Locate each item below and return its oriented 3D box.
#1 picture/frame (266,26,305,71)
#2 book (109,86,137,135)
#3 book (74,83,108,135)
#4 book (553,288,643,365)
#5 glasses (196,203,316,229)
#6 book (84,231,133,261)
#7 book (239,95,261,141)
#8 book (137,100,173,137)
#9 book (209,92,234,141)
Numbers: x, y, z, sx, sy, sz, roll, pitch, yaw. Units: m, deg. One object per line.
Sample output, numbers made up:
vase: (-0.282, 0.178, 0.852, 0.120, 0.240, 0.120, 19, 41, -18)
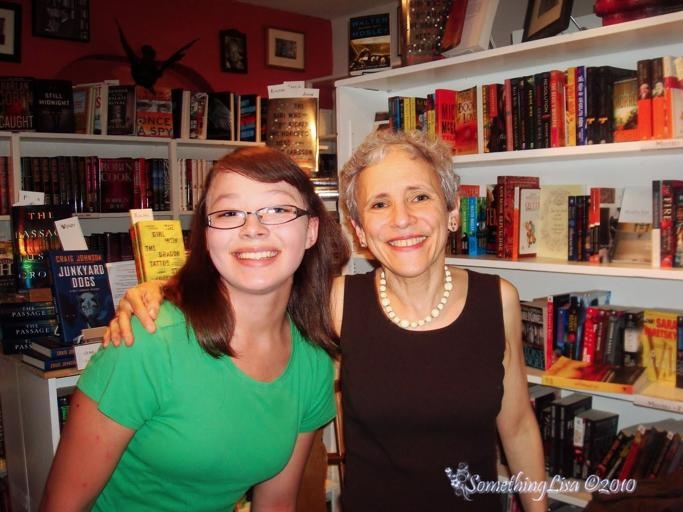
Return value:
picture/frame: (-0.768, -2.801, 6.890, 0.669, 0.591, 0.055, 0, -2, -39)
book: (-1.790, -1.193, 4.208, 0.233, 0.396, 0.045, -3, 7, -14)
book: (-2.010, -1.184, 4.167, 0.360, 0.390, 0.089, -4, 4, -7)
book: (1.191, 0.329, 2.498, 0.404, 0.326, 0.420, 1, 2, 24)
glasses: (-0.262, -0.124, 1.620, 0.302, 0.068, 0.073, -3, 7, -5)
book: (-1.759, -0.072, 3.934, 0.171, 0.236, 0.233, -1, -1, 42)
book: (-0.842, -1.281, 4.753, 0.328, 0.371, 0.081, 3, 3, 32)
book: (-1.582, -1.171, 4.360, 0.308, 0.306, 0.072, -2, 2, -37)
book: (-1.136, -1.294, 4.771, 0.237, 0.387, 0.340, 5, 23, 9)
